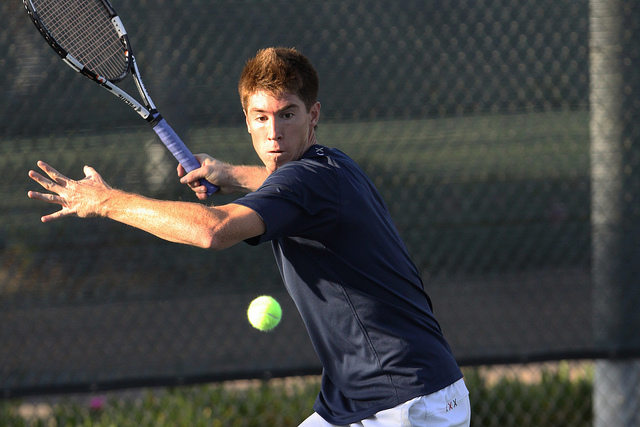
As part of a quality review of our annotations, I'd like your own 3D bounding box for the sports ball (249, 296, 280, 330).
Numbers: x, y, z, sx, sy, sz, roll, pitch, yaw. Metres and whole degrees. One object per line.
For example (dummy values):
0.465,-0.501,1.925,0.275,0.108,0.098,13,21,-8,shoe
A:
-0.371,0.639,6.195,0.188,0.192,0.189,11,1,0,sports ball
